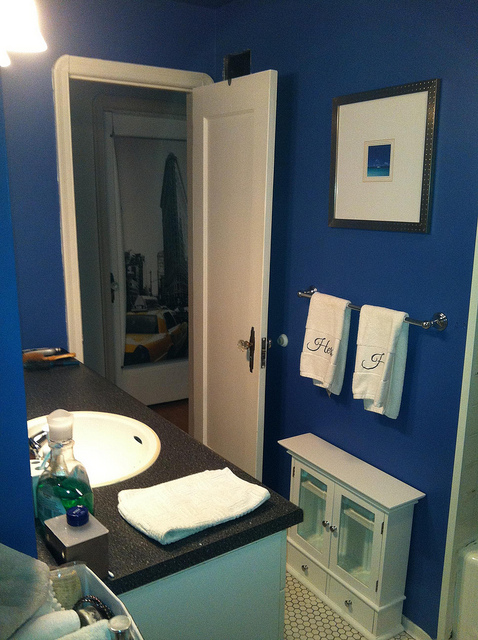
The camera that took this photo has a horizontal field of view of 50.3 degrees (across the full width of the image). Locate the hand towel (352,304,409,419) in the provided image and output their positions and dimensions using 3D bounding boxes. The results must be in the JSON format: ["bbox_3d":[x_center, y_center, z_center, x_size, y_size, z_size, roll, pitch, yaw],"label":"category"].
[{"bbox_3d":[0.513,0.157,1.864,0.191,0.395,0.123,4,9,23],"label":"hand towel"}]

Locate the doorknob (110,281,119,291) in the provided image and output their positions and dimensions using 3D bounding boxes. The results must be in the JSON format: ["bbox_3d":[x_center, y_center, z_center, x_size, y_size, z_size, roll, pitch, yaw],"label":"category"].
[{"bbox_3d":[-0.927,-0.253,3.800,0.065,0.066,0.023,-6,10,-32],"label":"doorknob"}]

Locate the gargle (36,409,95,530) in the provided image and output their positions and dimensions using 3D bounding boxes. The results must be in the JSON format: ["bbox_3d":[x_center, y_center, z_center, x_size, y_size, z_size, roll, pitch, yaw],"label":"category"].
[{"bbox_3d":[-0.334,0.281,0.951,0.109,0.241,0.102,-2,8,-12],"label":"gargle"}]

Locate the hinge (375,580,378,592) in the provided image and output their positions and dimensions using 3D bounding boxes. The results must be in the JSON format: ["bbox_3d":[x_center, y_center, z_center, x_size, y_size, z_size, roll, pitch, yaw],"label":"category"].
[{"bbox_3d":[0.504,0.980,1.877,0.011,0.048,0.005,7,10,40],"label":"hinge"}]

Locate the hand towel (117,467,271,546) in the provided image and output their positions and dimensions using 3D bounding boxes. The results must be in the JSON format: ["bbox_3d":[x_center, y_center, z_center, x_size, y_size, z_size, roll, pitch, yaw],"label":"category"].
[{"bbox_3d":[-0.094,0.384,1.104,0.322,0.044,0.214,-7,13,-31],"label":"hand towel"}]

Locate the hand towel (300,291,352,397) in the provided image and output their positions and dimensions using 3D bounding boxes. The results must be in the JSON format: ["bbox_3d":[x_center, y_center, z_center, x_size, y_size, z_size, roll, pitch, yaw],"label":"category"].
[{"bbox_3d":[0.350,0.086,2.126,0.165,0.432,0.082,15,25,28],"label":"hand towel"}]

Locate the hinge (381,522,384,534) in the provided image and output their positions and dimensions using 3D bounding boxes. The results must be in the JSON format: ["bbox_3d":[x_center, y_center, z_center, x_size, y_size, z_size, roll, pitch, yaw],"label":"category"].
[{"bbox_3d":[0.508,0.743,1.817,0.002,0.043,0.011,-6,10,-36],"label":"hinge"}]

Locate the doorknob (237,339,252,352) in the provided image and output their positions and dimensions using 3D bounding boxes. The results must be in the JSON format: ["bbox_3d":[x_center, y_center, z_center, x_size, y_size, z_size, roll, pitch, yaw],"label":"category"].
[{"bbox_3d":[0.020,0.122,2.349,0.030,0.050,0.104,-5,11,-28],"label":"doorknob"}]
